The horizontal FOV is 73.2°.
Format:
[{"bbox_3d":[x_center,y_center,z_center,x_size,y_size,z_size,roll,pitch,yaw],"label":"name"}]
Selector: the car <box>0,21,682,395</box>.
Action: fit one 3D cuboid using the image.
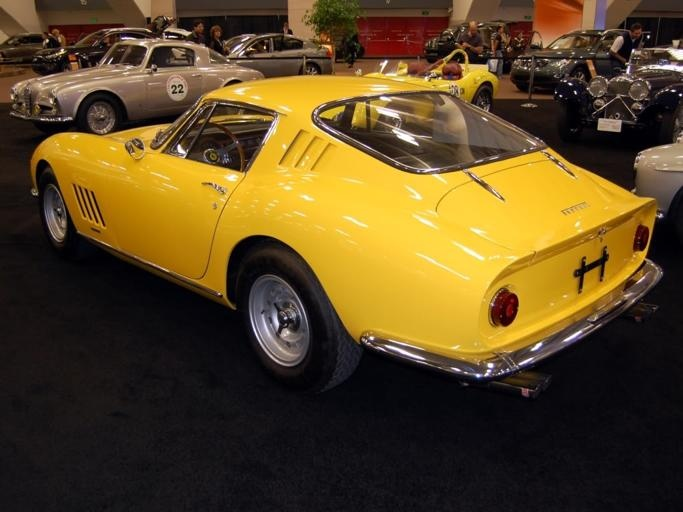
[{"bbox_3d":[-0.316,-0.478,3.025,3.701,1.265,1.838,23,28,34],"label":"car"}]
